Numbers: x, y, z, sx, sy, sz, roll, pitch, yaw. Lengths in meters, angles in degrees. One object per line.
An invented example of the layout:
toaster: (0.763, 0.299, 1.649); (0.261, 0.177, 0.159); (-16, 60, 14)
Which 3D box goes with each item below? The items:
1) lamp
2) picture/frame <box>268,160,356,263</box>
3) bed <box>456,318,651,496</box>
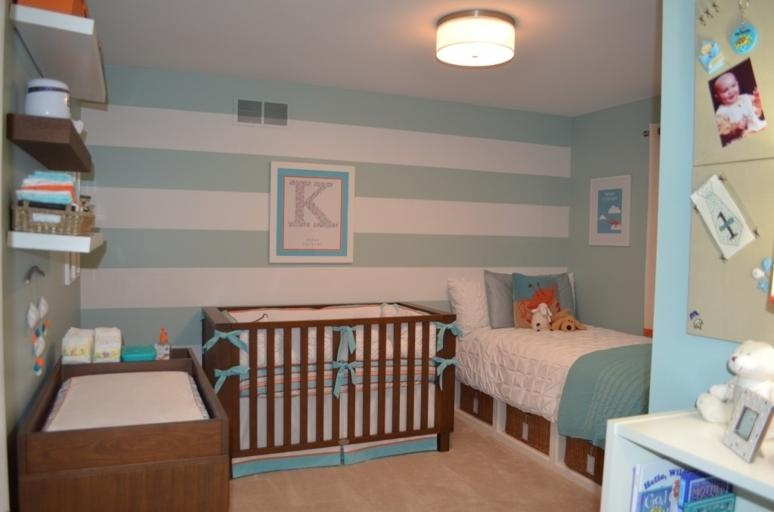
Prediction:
lamp: (0.528, -1.309, 3.350); (0.477, 0.199, 0.363); (0, -3, 4)
picture/frame: (-0.615, -0.352, 4.303); (0.790, 0.896, 0.046); (2, -1, -26)
bed: (1.075, 0.944, 3.647); (1.114, 0.269, 0.913); (2, 1, -35)
